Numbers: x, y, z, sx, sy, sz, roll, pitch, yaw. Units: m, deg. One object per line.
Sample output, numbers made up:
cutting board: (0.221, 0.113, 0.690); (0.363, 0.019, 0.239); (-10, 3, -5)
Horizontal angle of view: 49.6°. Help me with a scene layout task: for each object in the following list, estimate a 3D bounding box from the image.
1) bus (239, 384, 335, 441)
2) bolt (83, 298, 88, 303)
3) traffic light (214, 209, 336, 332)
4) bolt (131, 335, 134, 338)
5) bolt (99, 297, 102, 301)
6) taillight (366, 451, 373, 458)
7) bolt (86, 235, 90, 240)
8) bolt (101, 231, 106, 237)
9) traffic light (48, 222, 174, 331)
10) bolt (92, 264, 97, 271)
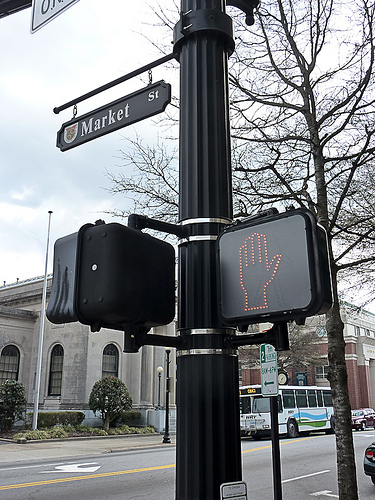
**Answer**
bus: (8.981, 13.584, 34.235); (11.416, 4.240, 4.234); (17, -27, -40)
bolt: (-0.321, 0.161, 1.284); (0.015, 0.019, 0.003); (-6, -11, 18)
traffic light: (0.261, 0.054, 1.250); (0.123, 0.358, 0.403); (8, -18, -35)
bolt: (-0.182, 0.288, 1.355); (0.010, 0.011, 0.002); (1, 0, -10)
bolt: (-0.265, 0.151, 1.245); (0.005, 0.015, 0.014); (9, -17, -43)
taillight: (5.717, 6.446, 12.779); (0.047, 0.213, 0.256); (5, -16, -26)
bolt: (-0.325, -0.041, 1.339); (0.003, 0.016, 0.021); (11, -20, -43)
bolt: (-0.266, -0.051, 1.295); (0.022, 0.019, 0.003); (-12, -17, 33)
traffic light: (-0.247, 0.093, 1.482); (0.382, 0.342, 0.378); (13, -21, -38)
bolt: (-0.292, 0.056, 1.284); (0.005, 0.022, 0.021); (12, -20, -44)
